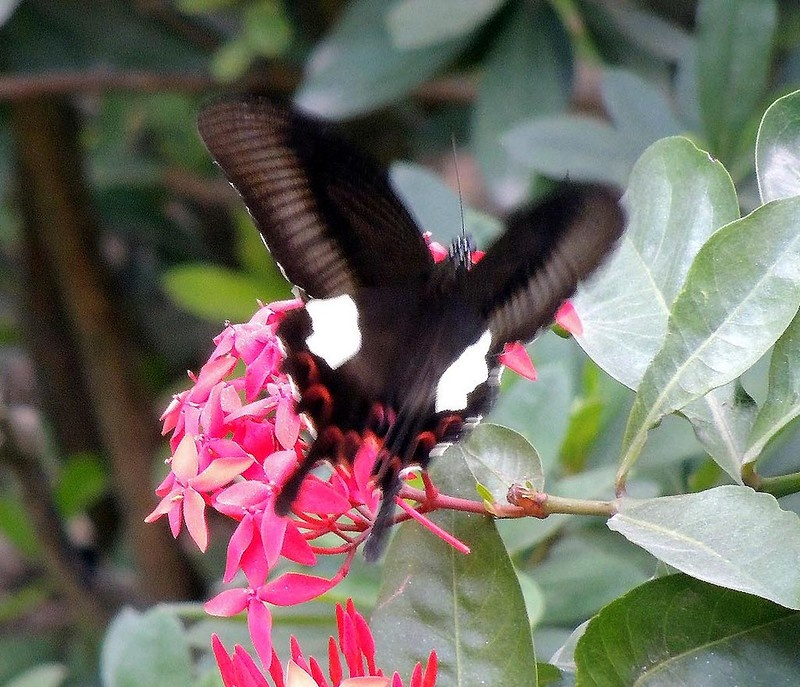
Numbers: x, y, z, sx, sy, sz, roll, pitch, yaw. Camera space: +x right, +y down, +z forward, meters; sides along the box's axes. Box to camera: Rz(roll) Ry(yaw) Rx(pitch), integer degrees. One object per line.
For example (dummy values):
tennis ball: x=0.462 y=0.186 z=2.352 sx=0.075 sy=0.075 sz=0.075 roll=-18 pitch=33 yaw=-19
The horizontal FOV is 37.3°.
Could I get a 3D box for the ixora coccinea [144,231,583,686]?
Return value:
ixora coccinea: x=-0.087 y=0.204 z=1.530 sx=0.437 sy=0.235 sz=0.449 roll=15 pitch=48 yaw=27
